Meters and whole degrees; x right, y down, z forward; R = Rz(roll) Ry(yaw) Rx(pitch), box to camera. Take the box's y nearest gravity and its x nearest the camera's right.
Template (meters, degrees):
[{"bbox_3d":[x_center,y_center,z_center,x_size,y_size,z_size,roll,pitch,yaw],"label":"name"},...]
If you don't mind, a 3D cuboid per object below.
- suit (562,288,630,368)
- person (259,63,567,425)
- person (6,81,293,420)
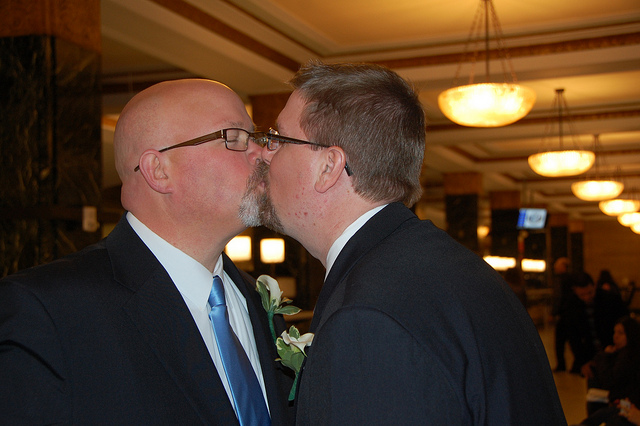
[{"bbox_3d":[4.164,1.731,8.923,0.468,1.114,1.166,1,-12,-2],"label":"suit"},{"bbox_3d":[0.248,0.064,2.245,1.123,1.410,0.599,-5,-13,27],"label":"person"},{"bbox_3d":[-0.869,0.157,2.785,0.834,1.422,1.758,-4,-5,14],"label":"person"}]
